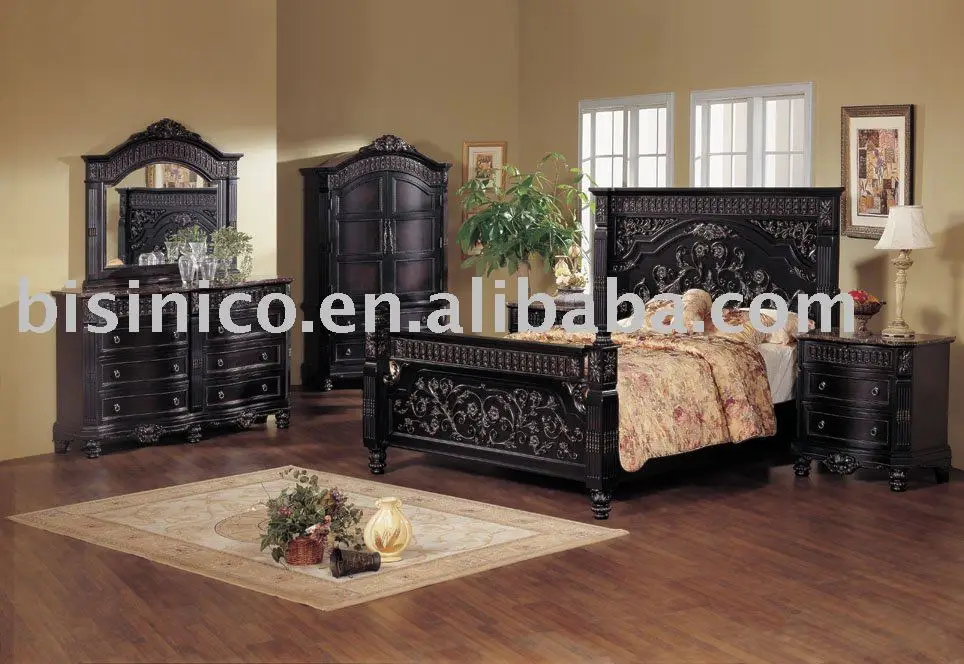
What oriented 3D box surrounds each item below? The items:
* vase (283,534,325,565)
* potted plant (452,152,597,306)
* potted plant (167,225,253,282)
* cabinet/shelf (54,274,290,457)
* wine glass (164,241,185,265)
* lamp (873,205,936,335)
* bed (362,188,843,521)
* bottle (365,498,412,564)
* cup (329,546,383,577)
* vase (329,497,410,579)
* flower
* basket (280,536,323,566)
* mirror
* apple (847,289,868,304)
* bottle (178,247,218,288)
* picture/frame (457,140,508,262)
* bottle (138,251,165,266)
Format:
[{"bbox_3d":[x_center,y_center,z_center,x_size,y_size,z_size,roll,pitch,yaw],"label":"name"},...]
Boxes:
[{"bbox_3d":[-0.958,1.165,3.993,0.188,0.158,0.179,1,1,-6],"label":"vase"},{"bbox_3d":[0.422,-1.228,9.072,1.643,1.756,1.540,-3,3,-13],"label":"potted plant"},{"bbox_3d":[-2.507,-0.714,7.002,0.745,0.510,0.532,-1,8,-17],"label":"potted plant"},{"bbox_3d":[-2.785,0.300,6.875,0.703,1.314,2.033,5,8,40],"label":"cabinet/shelf"},{"bbox_3d":[-2.837,-0.715,6.878,0.187,0.212,0.192,-4,9,-35],"label":"wine glass"},{"bbox_3d":[3.299,-0.485,5.846,0.376,1.001,0.770,4,6,30],"label":"lamp"},{"bbox_3d":[1.130,-0.063,6.227,3.130,2.134,2.866,-8,9,-44],"label":"bed"},{"bbox_3d":[-0.503,1.066,4.156,0.341,0.399,0.317,0,0,0],"label":"bottle"},{"bbox_3d":[-0.663,1.181,3.937,0.239,0.128,0.134,1,6,-34],"label":"cup"},{"bbox_3d":[-0.571,1.113,4.014,0.317,0.254,0.445,2,12,24],"label":"vase"},{"bbox_3d":[-0.990,1.072,4.097,0.401,0.311,0.367,-4,-10,38],"label":"flower"},{"bbox_3d":[-0.942,1.171,3.999,0.184,0.113,0.180,0,1,-29],"label":"basket"},{"bbox_3d":[-2.842,-1.197,6.728,1.496,1.391,0.125,0,-3,7],"label":"mirror"},{"bbox_3d":[2.991,-0.280,5.935,0.164,0.085,0.153,0,5,-8],"label":"apple"},{"bbox_3d":[-2.537,-0.577,6.756,0.346,0.357,0.337,-1,4,-17],"label":"bottle"},{"bbox_3d":[0.021,-1.652,9.530,0.047,1.490,0.755,13,20,40],"label":"picture/frame"},{"bbox_3d":[-2.991,-0.665,6.784,0.103,0.108,0.164,7,8,45],"label":"bottle"}]
